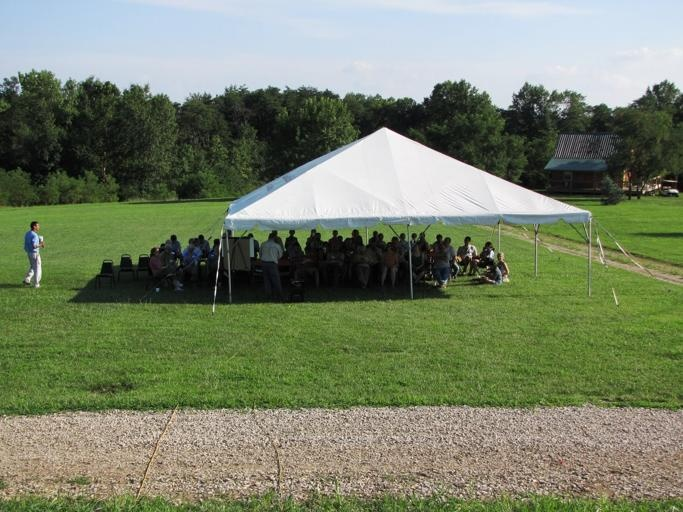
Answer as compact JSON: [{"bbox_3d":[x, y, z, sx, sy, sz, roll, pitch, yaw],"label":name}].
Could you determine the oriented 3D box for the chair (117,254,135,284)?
[{"bbox_3d":[-6.999,0.474,29.118,0.523,1.115,0.715,1,-18,-12],"label":"chair"}]
